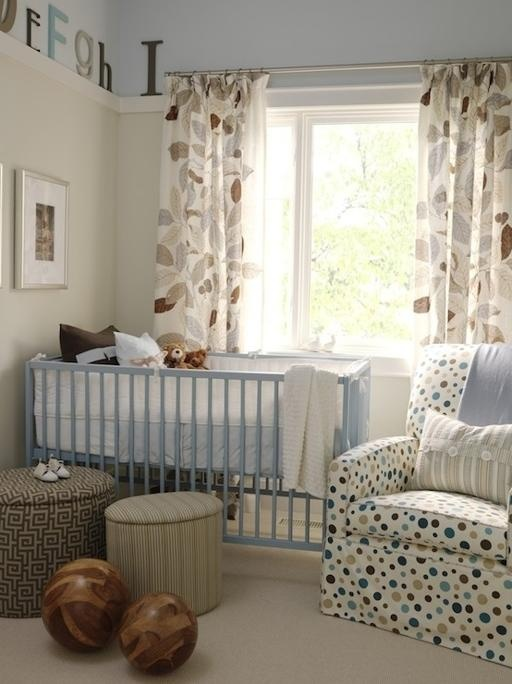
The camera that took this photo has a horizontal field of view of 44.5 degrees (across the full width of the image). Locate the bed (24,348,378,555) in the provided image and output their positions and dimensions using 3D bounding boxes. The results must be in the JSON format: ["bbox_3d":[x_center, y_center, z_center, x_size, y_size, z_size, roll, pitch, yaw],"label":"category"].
[{"bbox_3d":[-0.192,0.417,2.603,1.282,0.774,0.749,1,4,21],"label":"bed"}]

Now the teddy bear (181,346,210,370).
[{"bbox_3d":[-0.275,0.075,2.828,0.093,0.067,0.126,-3,-2,0],"label":"teddy bear"}]

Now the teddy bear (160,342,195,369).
[{"bbox_3d":[-0.357,0.054,2.763,0.086,0.126,0.058,0,22,-3],"label":"teddy bear"}]

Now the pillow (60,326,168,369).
[{"bbox_3d":[-0.650,0.007,2.594,0.248,0.077,0.228,0,37,-50],"label":"pillow"}]
